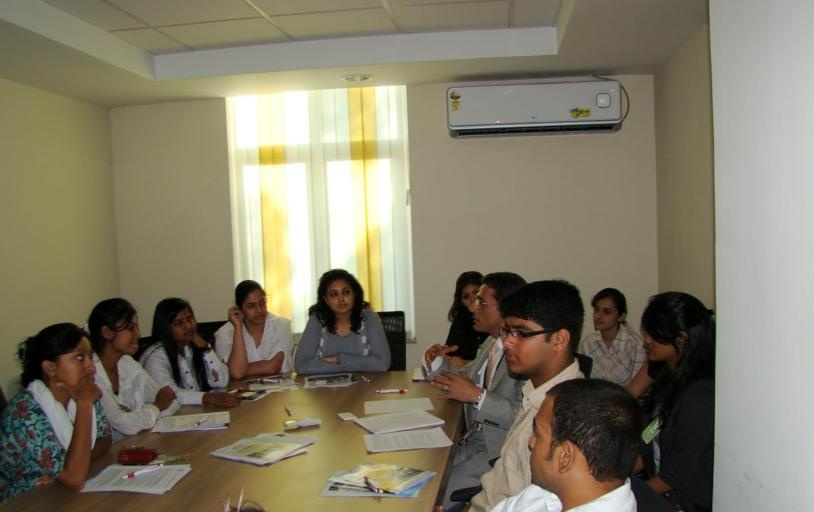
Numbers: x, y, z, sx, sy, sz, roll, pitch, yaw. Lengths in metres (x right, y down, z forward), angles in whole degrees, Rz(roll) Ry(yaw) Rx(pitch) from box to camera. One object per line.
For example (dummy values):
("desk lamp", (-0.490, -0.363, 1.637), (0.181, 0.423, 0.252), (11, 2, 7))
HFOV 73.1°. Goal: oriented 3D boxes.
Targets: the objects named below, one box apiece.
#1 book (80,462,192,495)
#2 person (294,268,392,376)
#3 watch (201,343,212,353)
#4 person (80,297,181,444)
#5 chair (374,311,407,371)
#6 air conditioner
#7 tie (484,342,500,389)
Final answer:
("book", (-1.188, 0.973, 2.420), (0.430, 0.028, 0.219), (0, 9, 8))
("person", (-0.470, 0.478, 4.046), (0.659, 0.784, 0.523), (-4, -10, 2))
("watch", (-1.349, 0.616, 3.677), (0.040, 0.063, 0.066), (27, 36, 32))
("person", (-1.624, 0.649, 3.165), (0.543, 0.743, 0.516), (-14, -9, 39))
("chair", (-0.089, 0.664, 4.311), (0.337, 0.624, 0.370), (-1, -11, 0))
("air conditioner", (1.134, -1.311, 4.838), (1.259, 0.416, 0.292), (1, 4, 4))
("tie", (0.495, 0.654, 3.237), (0.065, 0.221, 0.156), (17, 30, 10))
